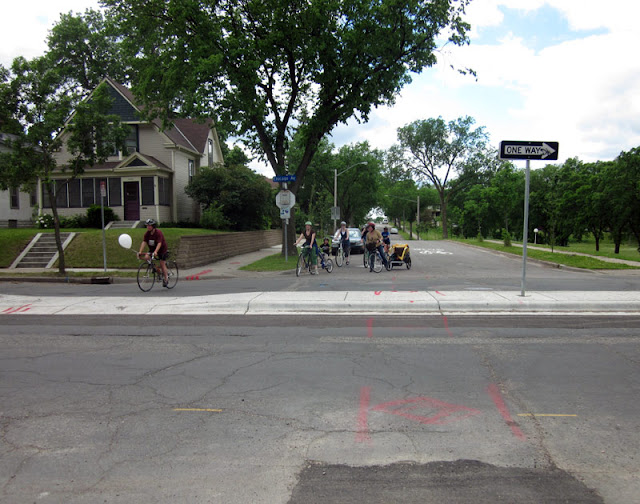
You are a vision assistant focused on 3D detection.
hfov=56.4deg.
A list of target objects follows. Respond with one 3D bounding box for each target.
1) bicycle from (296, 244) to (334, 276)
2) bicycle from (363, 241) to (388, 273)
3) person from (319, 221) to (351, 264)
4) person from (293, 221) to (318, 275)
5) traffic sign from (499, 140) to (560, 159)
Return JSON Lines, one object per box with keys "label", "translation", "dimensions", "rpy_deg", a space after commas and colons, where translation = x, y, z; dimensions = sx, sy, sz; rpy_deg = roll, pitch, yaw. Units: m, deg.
{"label": "bicycle", "translation": [-0.339, 0.326, 21.969], "dimensions": [0.726, 1.012, 1.567], "rpy_deg": [-4, -4, 30]}
{"label": "bicycle", "translation": [2.073, 0.204, 22.330], "dimensions": [0.551, 0.794, 1.215], "rpy_deg": [-4, -5, 13]}
{"label": "person", "translation": [0.849, -0.405, 25.070], "dimensions": [0.846, 1.218, 1.918], "rpy_deg": [-1, -6, 9]}
{"label": "person", "translation": [-0.446, -0.172, 21.478], "dimensions": [0.769, 1.867, 1.231], "rpy_deg": [-1, 7, -1]}
{"label": "traffic sign", "translation": [4.714, -2.279, 13.446], "dimensions": [1.310, 0.412, 0.461], "rpy_deg": [-3, 7, -12]}
